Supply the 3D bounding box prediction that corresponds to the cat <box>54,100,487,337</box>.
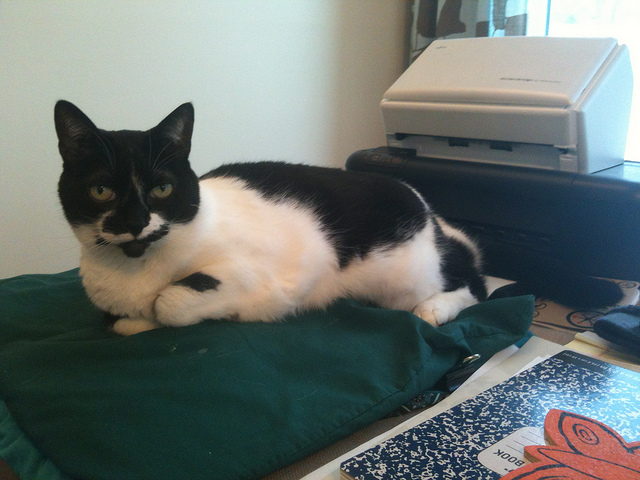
[{"bbox_3d":[-0.092,0.002,1.155,0.758,0.351,0.438,2,-6,-33],"label":"cat"}]
